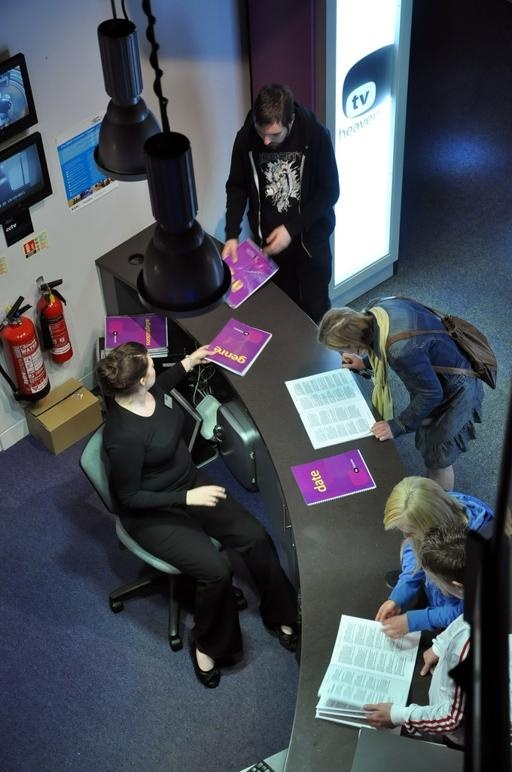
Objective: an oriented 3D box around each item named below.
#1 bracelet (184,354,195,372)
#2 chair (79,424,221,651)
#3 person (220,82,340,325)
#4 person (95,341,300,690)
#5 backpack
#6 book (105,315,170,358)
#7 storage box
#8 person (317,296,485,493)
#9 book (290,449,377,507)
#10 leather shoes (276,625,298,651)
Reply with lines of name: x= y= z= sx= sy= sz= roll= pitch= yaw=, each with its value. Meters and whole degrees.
bracelet: x=-0.450 y=-0.153 z=3.830 sx=0.081 sy=0.118 sz=0.031 roll=-1 pitch=-1 yaw=21
chair: x=-0.608 y=0.881 z=3.671 sx=0.848 sy=1.291 sz=0.810 roll=16 pitch=30 yaw=38
person: x=0.194 y=-1.202 z=4.171 sx=0.839 sy=1.857 sz=0.595 roll=-3 pitch=35 yaw=10
person: x=-0.361 y=0.877 z=3.534 sx=0.892 sy=1.642 sz=1.159 roll=19 pitch=51 yaw=26
backpack: x=1.069 y=-0.239 z=3.435 sx=0.341 sy=0.600 sz=0.384 roll=-30 pitch=44 yaw=28
book: x=-0.900 y=-0.371 z=4.324 sx=0.363 sy=0.089 sz=0.389 roll=-2 pitch=54 yaw=6
storage box: x=-1.585 y=0.235 z=4.683 sx=0.598 sy=0.293 sz=0.624 roll=-14 pitch=41 yaw=-12
person: x=0.867 y=0.096 z=3.389 sx=0.727 sy=1.263 sz=0.624 roll=-6 pitch=52 yaw=18
book: x=0.426 y=0.513 z=3.143 sx=0.415 sy=0.091 sz=0.258 roll=-16 pitch=36 yaw=-7
leather shoes: x=0.202 y=1.600 z=3.587 sx=0.073 sy=0.081 sz=0.209 roll=-27 pitch=66 yaw=-17
